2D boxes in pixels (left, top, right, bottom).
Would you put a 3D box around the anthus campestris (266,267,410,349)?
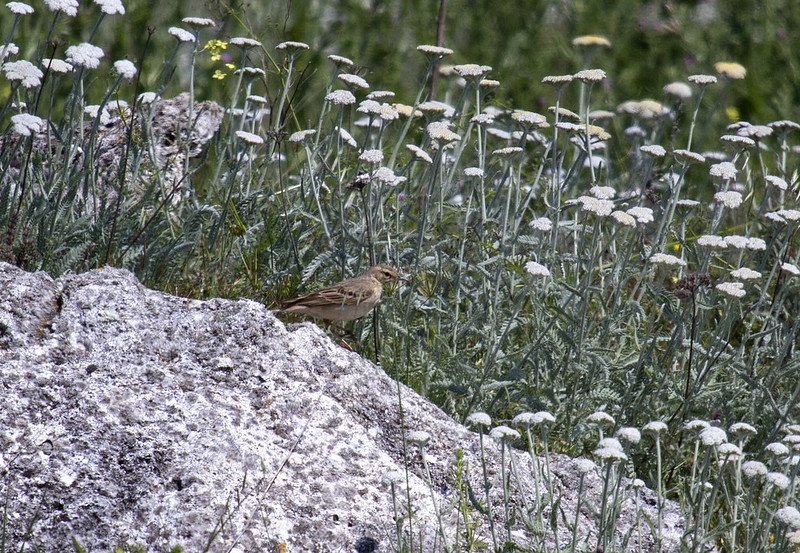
[{"bbox_3d":[-0.456,0.168,11.592,0.906,0.641,0.329,9,-8,4],"label":"anthus campestris"}]
